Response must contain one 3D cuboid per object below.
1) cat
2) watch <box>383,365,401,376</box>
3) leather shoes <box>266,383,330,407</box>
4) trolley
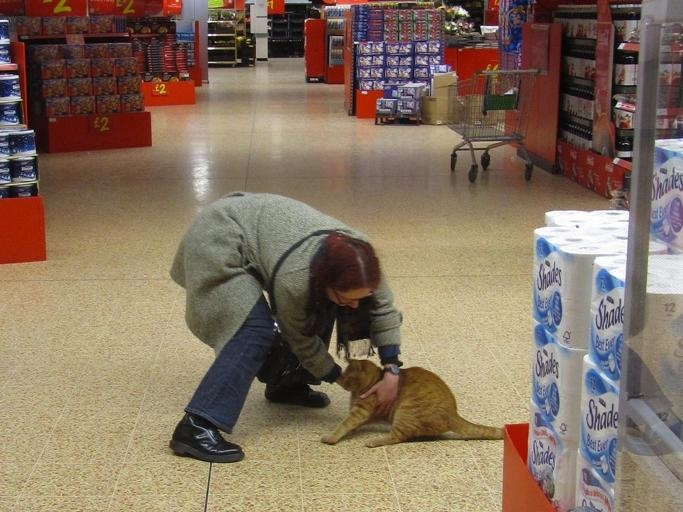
[{"bbox_3d":[0.438,0.673,2.512,1.164,0.358,0.302,2,1,3],"label":"cat"},{"bbox_3d":[0.209,0.500,2.345,0.066,0.033,0.065,-8,-14,32],"label":"watch"},{"bbox_3d":[-0.230,0.714,2.800,0.403,0.135,0.114,1,15,0],"label":"leather shoes"},{"bbox_3d":[2.115,-1.999,8.021,1.065,1.220,1.455,-4,15,-9],"label":"trolley"}]
